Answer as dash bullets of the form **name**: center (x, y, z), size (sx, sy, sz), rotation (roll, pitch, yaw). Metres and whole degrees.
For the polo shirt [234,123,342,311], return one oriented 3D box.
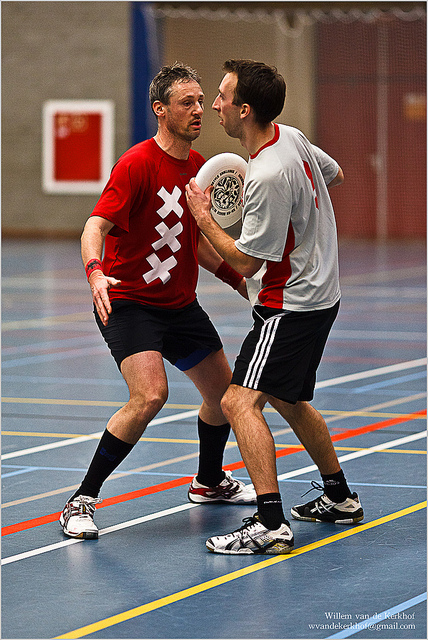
- **polo shirt**: center (0.315, -0.446, 2.989), size (0.318, 0.803, 0.573), rotation (7, 12, 34)

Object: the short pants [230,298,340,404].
- **short pants**: center (0.324, 0.165, 3.068), size (0.504, 0.470, 0.291), rotation (-1, 10, -7)

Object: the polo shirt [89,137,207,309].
- **polo shirt**: center (-0.351, -0.468, 3.403), size (0.318, 0.843, 0.716), rotation (6, 11, 30)

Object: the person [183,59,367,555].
- **person**: center (0.297, -0.065, 3.257), size (0.835, 2.235, 1.143), rotation (-1, 10, -3)
